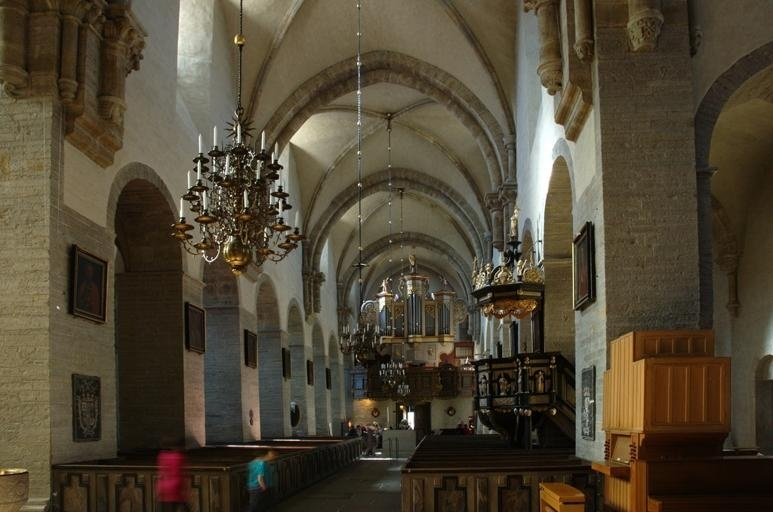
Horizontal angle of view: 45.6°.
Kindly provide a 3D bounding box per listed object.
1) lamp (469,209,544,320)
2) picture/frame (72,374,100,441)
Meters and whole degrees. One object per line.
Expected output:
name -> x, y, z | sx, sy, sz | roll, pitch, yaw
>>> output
lamp -> 2.421, 0.158, 17.744 | 1.442, 2.101, 1.561 | -2, -11, 19
picture/frame -> -4.610, 2.343, 14.106 | 0.111, 1.093, 0.925 | -6, -10, 17
